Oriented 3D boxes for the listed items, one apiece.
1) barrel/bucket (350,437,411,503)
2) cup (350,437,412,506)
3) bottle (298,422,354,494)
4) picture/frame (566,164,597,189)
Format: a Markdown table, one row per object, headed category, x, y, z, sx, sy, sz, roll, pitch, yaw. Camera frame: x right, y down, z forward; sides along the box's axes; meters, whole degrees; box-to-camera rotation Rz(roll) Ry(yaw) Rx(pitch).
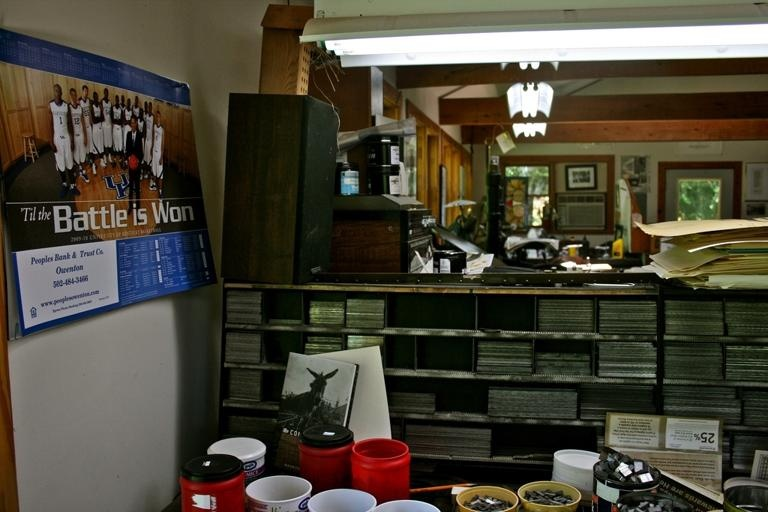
| category | x | y | z | sx | sy | sz | roll | pitch | yaw |
| --- | --- | --- | --- | --- | --- | --- | --- | --- | --- |
| barrel/bucket | 0.000 | 0.630 | 1.929 | 0.145 | 0.197 | 0.162 | -1 | -4 | 22 |
| cup | -0.024 | 0.631 | 1.938 | 0.184 | 0.192 | 0.179 | -1 | 4 | 0 |
| bottle | -0.180 | 0.634 | 2.023 | 0.174 | 0.179 | 0.179 | 3 | 5 | 34 |
| picture/frame | 4.243 | -1.727 | 13.210 | 0.549 | 0.453 | 0.041 | 0 | 8 | 7 |
